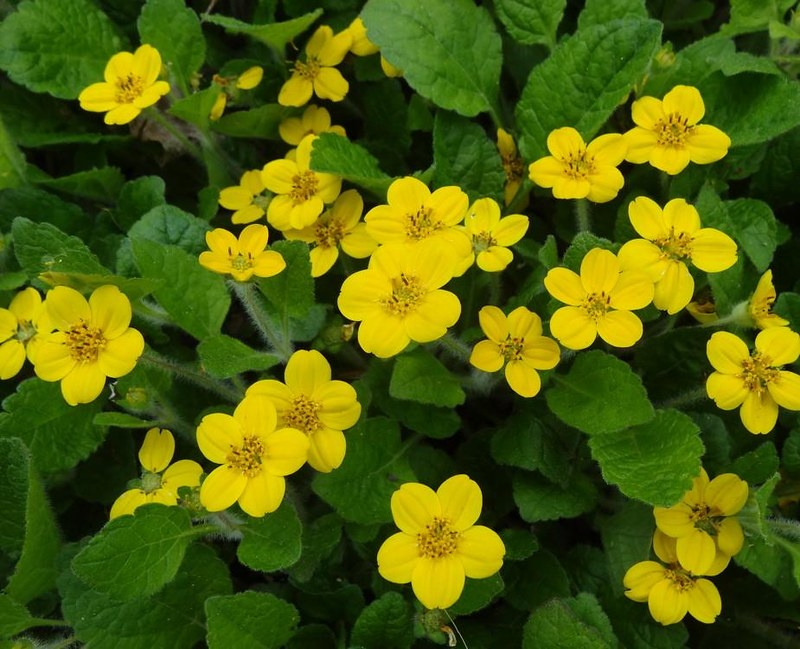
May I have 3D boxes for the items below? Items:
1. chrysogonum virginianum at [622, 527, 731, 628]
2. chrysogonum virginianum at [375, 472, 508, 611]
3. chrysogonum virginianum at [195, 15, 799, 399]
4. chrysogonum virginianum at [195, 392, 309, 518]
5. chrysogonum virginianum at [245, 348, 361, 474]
[{"bbox_3d":[0.660,0.635,1.909,0.198,0.245,0.173,-1,20,1],"label":"chrysogonum virginianum"},{"bbox_3d":[0.081,0.466,1.802,0.305,0.298,0.072,-9,-11,10],"label":"chrysogonum virginianum"},{"bbox_3d":[0.406,-0.460,2.238,1.514,0.926,0.745,-3,-9,-1],"label":"chrysogonum virginianum"},{"bbox_3d":[-0.305,0.295,1.872,0.239,0.281,0.306,-5,23,-9],"label":"chrysogonum virginianum"},{"bbox_3d":[-0.204,0.191,1.844,0.281,0.275,0.067,26,-5,-3],"label":"chrysogonum virginianum"}]
